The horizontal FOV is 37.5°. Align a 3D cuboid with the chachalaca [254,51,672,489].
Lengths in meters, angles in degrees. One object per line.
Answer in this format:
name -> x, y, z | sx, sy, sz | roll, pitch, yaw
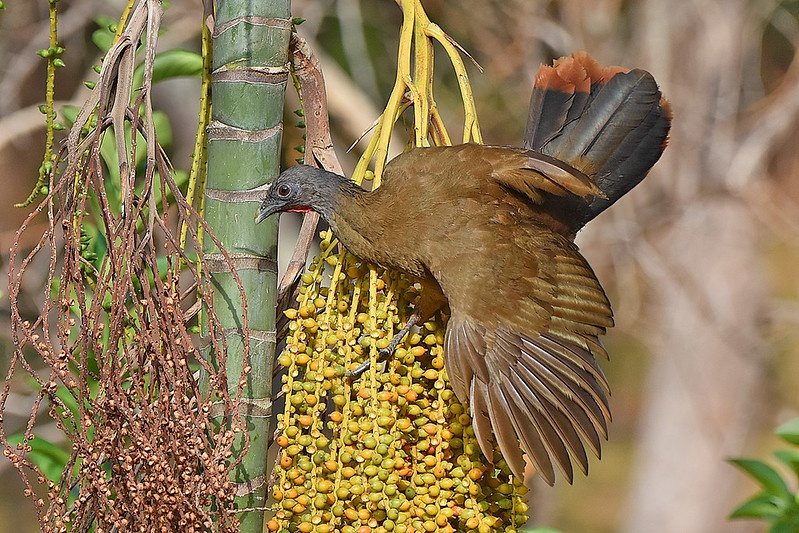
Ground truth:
chachalaca -> 0.393, -0.059, 4.167 | 1.492, 0.981, 1.508 | -24, 15, -27
